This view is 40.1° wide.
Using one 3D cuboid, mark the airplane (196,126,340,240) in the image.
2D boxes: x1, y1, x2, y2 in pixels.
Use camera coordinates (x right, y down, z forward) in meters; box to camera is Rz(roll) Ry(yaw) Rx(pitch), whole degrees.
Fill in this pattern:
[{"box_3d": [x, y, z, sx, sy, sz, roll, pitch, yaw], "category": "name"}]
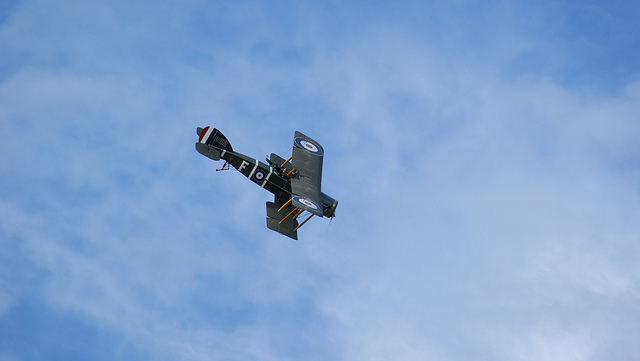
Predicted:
[{"box_3d": [-4.603, -1.517, 79.730, 6.902, 7.056, 12.941, -42, -78, 16], "category": "airplane"}]
